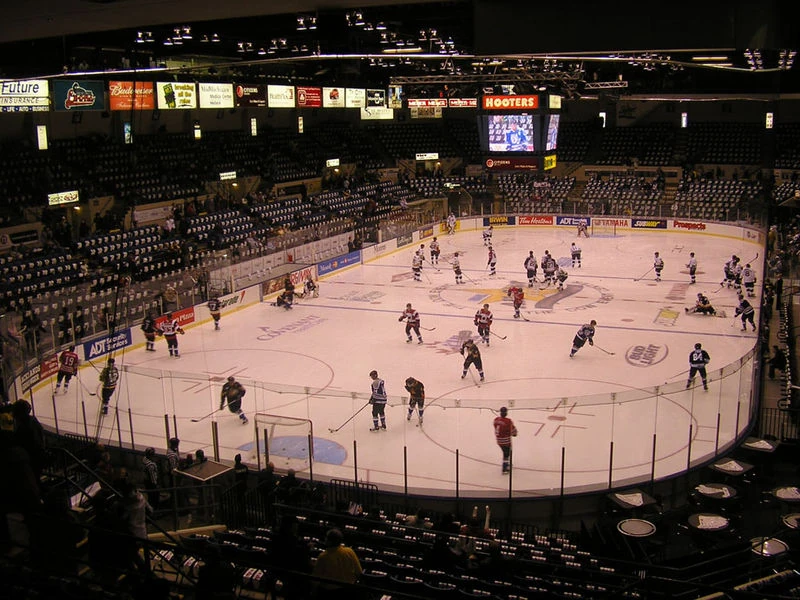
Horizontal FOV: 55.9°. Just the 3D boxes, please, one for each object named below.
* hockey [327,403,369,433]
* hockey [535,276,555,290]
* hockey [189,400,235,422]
[{"bbox_3d":[-1.035,2.403,15.125,0.847,0.119,0.090,-38,-11,4],"label":"hockey"},{"bbox_3d":[6.028,-0.737,31.219,0.473,0.174,0.774,6,18,28],"label":"hockey"},{"bbox_3d":[-3.856,2.298,15.471,0.790,0.037,0.252,-18,-7,14],"label":"hockey"}]
